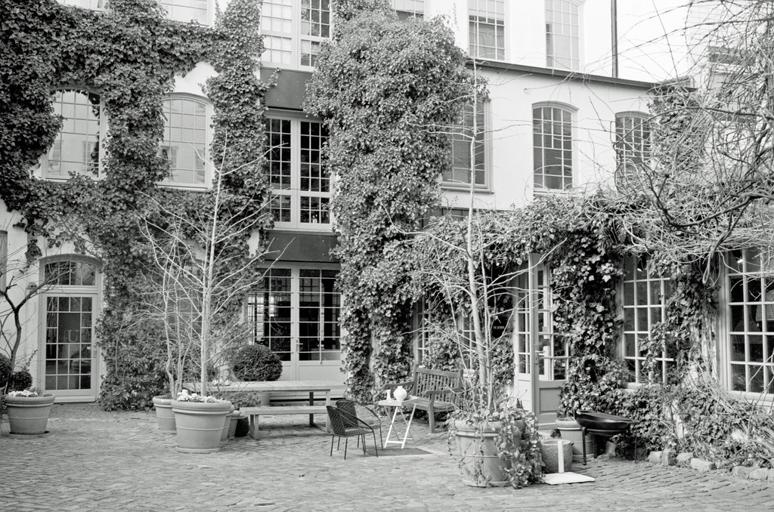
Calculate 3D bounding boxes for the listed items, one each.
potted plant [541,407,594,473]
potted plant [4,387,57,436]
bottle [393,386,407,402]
[{"bbox_3d":[3.230,3.315,17.134,0.760,0.728,0.783,1,-10,-15],"label":"potted plant"},{"bbox_3d":[-7.160,3.102,19.372,0.804,0.630,0.837,-2,-9,16],"label":"potted plant"},{"bbox_3d":[0.287,2.650,18.628,0.251,0.269,0.272,-3,1,-1],"label":"bottle"}]
